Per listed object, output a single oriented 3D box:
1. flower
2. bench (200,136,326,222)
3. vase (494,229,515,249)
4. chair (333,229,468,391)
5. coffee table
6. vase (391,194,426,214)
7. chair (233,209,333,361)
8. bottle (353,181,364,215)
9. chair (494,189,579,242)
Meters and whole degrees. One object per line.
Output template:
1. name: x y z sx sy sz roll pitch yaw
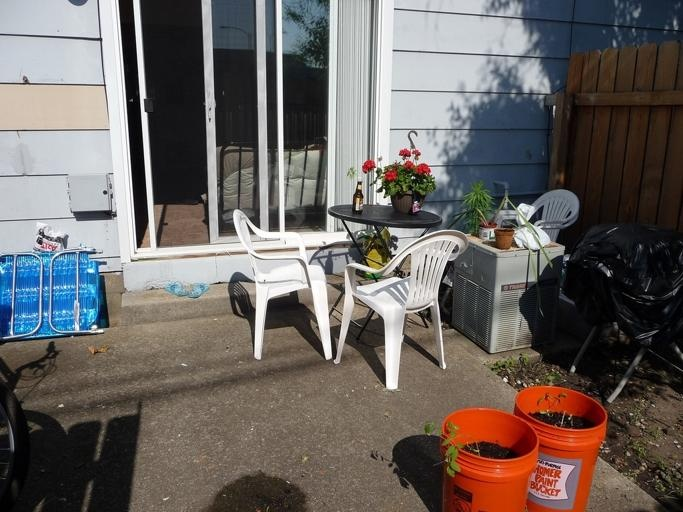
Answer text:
1. flower: 0.554 -0.792 4.669 0.570 0.411 0.704 2 5 26
2. bench: -0.838 -0.868 5.246 0.967 0.780 0.082 -6 24 -20
3. vase: 1.265 -0.156 3.795 0.136 0.143 0.147 -1 13 -3
4. chair: 0.411 0.327 3.680 0.900 1.130 0.604 -9 17 -17
5. coffee table: 0.351 0.180 4.730 1.110 1.342 1.075 -15 22 -40
6. vase: 0.613 -0.509 4.502 0.192 0.138 0.202 5 9 34
7. chair: -0.528 0.210 4.111 0.855 1.123 0.920 9 5 28
8. bottle: 0.147 -0.559 4.534 0.094 0.283 0.145 -6 16 -9
9. chair: 2.108 -0.311 5.061 0.657 0.660 0.573 -7 11 -28
